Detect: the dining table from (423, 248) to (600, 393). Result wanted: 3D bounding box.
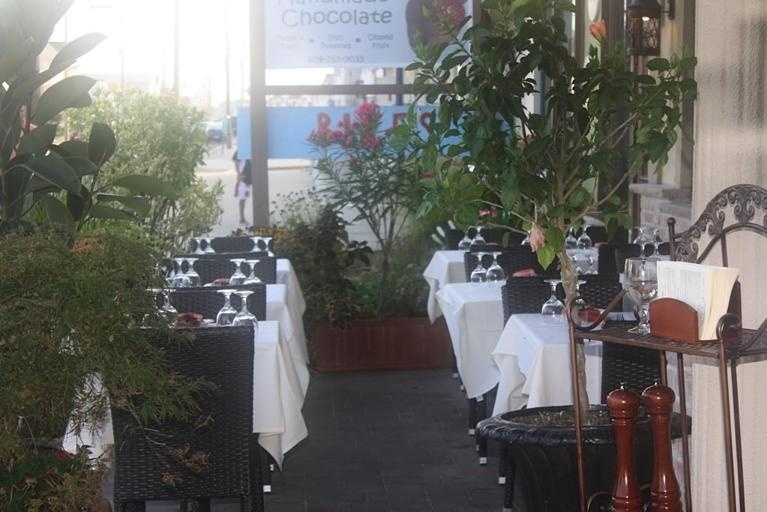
[{"bbox_3d":[0.575,0.358,6.495,0.762,0.430,0.712,-3,16,-11],"label":"dining table"}]

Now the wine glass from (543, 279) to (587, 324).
[{"bbox_3d":[0.838,0.209,4.970,0.204,0.189,0.084,3,8,29],"label":"wine glass"}]

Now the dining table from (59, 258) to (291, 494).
[{"bbox_3d":[-0.899,0.626,5.316,0.938,0.591,1.147,-2,7,-1],"label":"dining table"}]

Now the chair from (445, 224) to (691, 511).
[{"bbox_3d":[0.968,0.466,5.304,1.185,0.646,1.025,-2,2,-9],"label":"chair"}]
